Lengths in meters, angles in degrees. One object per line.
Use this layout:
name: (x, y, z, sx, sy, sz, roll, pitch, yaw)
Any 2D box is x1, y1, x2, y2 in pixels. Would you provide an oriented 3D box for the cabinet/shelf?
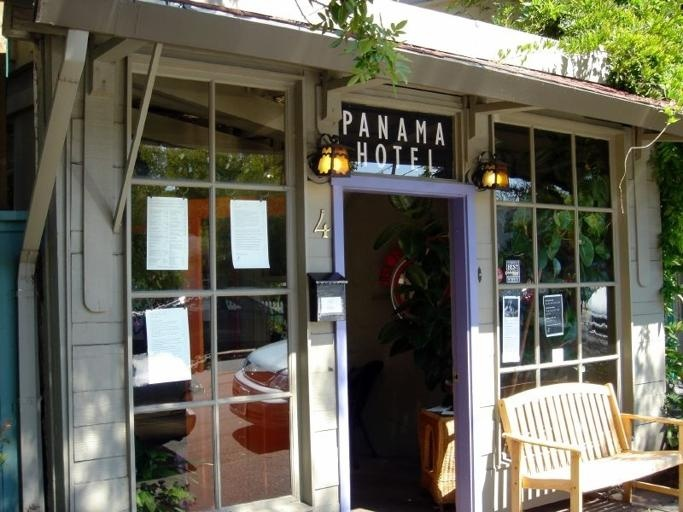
cabinet/shelf: (0.867, 1.780, 5.491, 0.232, 0.834, 0.593, 2, -4, -14)

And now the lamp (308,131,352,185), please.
lamp: (-0.059, -0.686, 4.349, 0.251, 0.282, 0.262, 3, 5, 14)

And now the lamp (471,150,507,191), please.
lamp: (1.156, -0.639, 4.976, 0.273, 0.327, 0.293, -1, -2, 8)
